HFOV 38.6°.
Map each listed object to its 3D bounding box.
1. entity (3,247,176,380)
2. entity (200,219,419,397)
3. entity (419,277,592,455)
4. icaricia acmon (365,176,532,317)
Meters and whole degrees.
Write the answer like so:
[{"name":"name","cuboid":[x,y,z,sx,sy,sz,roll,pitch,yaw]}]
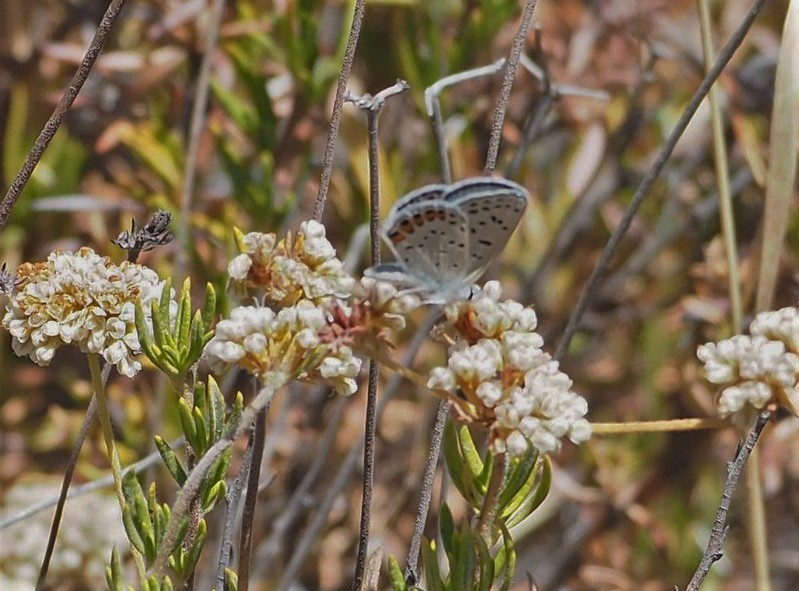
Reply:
[{"name":"entity","cuboid":[-0.499,0.012,1.801,0.205,0.127,0.204,-16,47,-41]},{"name":"entity","cuboid":[-0.157,-0.005,1.830,0.271,0.288,0.173,35,23,18]},{"name":"entity","cuboid":[0.171,0.132,1.818,0.262,0.144,0.258,63,3,22]},{"name":"icaricia acmon","cuboid":[0.076,-0.083,1.887,0.248,0.210,0.286,19,-3,8]}]
